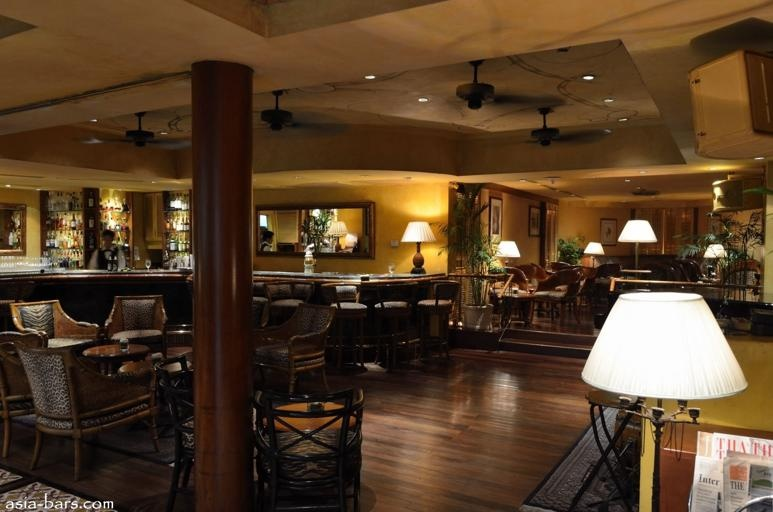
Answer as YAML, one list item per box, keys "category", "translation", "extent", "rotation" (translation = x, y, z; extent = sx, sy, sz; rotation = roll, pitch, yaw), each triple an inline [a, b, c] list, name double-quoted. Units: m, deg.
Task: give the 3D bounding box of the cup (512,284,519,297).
- category: "cup"
  translation: [2.505, 0.684, 10.806]
  extent: [0.176, 0.237, 0.547]
  rotation: [0, 1, 12]

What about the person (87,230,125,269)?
- category: "person"
  translation: [-5.145, -0.114, 10.103]
  extent: [0.777, 0.705, 0.477]
  rotation: [0, 1, 36]

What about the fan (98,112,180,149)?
- category: "fan"
  translation: [-3.487, -1.712, 7.862]
  extent: [1.056, 0.311, 0.952]
  rotation: [-1, 4, -14]

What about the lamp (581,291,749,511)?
- category: "lamp"
  translation: [1.554, 0.879, 3.158]
  extent: [0.766, 1.311, 0.468]
  rotation: [-1, 1, -18]

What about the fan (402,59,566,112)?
- category: "fan"
  translation: [1.263, -1.791, 6.157]
  extent: [1.400, 0.457, 0.720]
  rotation: [1, 1, -42]

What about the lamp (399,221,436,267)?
- category: "lamp"
  translation: [0.592, -0.163, 10.258]
  extent: [0.799, 0.851, 0.792]
  rotation: [-1, -5, 36]

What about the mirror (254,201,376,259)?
- category: "mirror"
  translation: [-1.504, -0.533, 11.732]
  extent: [0.149, 1.194, 3.279]
  rotation: [4, 5, 43]

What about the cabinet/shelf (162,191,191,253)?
- category: "cabinet/shelf"
  translation: [-4.820, -0.637, 12.510]
  extent: [0.253, 1.664, 0.806]
  rotation: [6, 7, 31]

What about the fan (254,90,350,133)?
- category: "fan"
  translation: [-1.169, -1.792, 6.982]
  extent: [0.471, 0.537, 1.275]
  rotation: [6, 9, 33]
